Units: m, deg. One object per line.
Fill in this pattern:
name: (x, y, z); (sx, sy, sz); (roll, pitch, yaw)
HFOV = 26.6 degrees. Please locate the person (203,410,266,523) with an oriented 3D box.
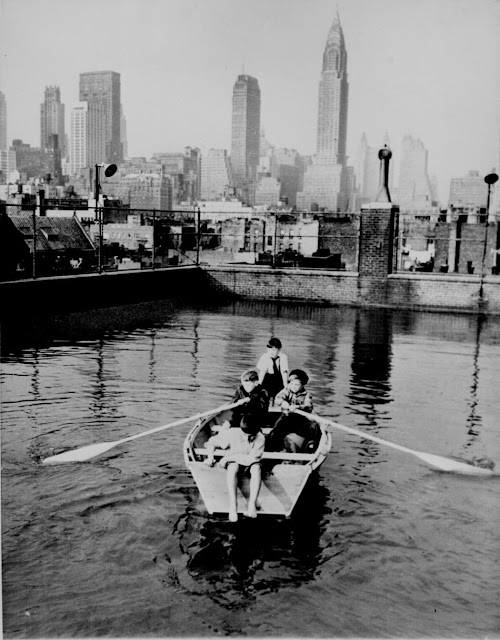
person: (-0.084, 1.226, 9.383); (0.408, 0.434, 0.959); (0, 41, 2)

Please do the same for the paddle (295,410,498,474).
paddle: (1.561, 1.334, 11.323); (1.240, 0.226, 0.066); (23, 29, 11)

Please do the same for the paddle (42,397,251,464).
paddle: (-1.126, 1.195, 11.178); (1.503, 0.081, 0.158); (-21, 14, -25)
